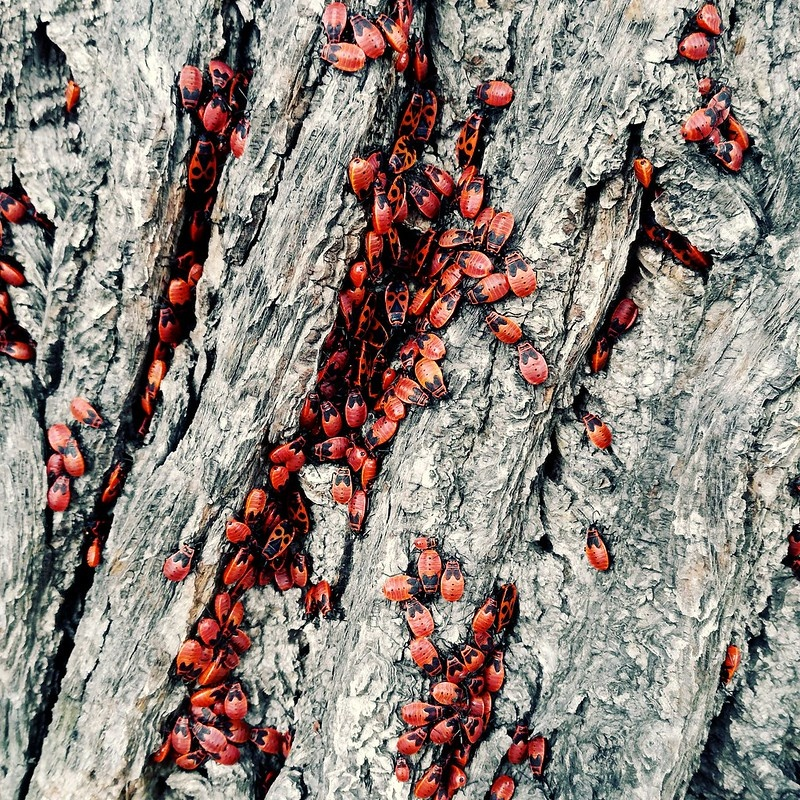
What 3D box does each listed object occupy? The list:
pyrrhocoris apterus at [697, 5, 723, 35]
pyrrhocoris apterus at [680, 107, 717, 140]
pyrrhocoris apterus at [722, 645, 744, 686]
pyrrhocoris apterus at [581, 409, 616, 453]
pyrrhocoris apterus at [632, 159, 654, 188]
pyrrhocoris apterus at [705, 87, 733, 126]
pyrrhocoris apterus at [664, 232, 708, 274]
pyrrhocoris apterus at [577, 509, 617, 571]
[{"bbox_3d":[2.017,-2.455,7.700,0.063,0.153,0.185,5,-40,50],"label":"pyrrhocoris apterus"},{"bbox_3d":[1.964,-1.789,7.754,0.255,0.082,0.180,-25,-64,6],"label":"pyrrhocoris apterus"},{"bbox_3d":[2.398,1.895,8.522,0.071,0.141,0.309,11,-95,19],"label":"pyrrhocoris apterus"},{"bbox_3d":[1.401,0.232,8.411,0.149,0.079,0.295,-30,-98,46],"label":"pyrrhocoris apterus"},{"bbox_3d":[1.638,-1.523,7.917,0.144,0.136,0.175,6,-62,-8],"label":"pyrrhocoris apterus"},{"bbox_3d":[2.116,-1.949,7.811,0.134,0.074,0.286,15,-92,9],"label":"pyrrhocoris apterus"},{"bbox_3d":[1.938,-1.009,8.042,0.194,0.084,0.362,-46,-111,41],"label":"pyrrhocoris apterus"},{"bbox_3d":[1.407,1.005,8.466,0.149,0.079,0.419,-10,-103,32],"label":"pyrrhocoris apterus"}]
